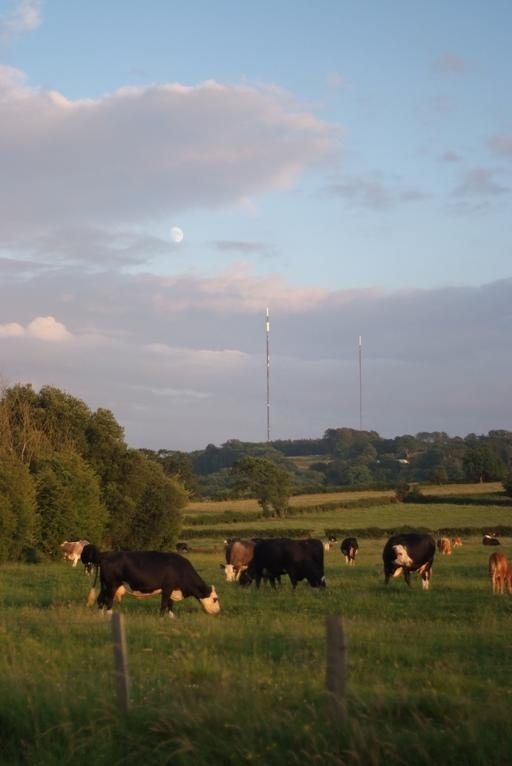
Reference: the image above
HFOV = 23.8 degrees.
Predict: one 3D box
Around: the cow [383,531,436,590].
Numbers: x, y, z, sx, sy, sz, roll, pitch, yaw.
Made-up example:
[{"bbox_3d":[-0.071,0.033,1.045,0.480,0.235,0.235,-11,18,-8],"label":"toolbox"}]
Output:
[{"bbox_3d":[4.371,5.194,35.173,2.195,1.685,0.916,5,-10,-42],"label":"cow"}]
